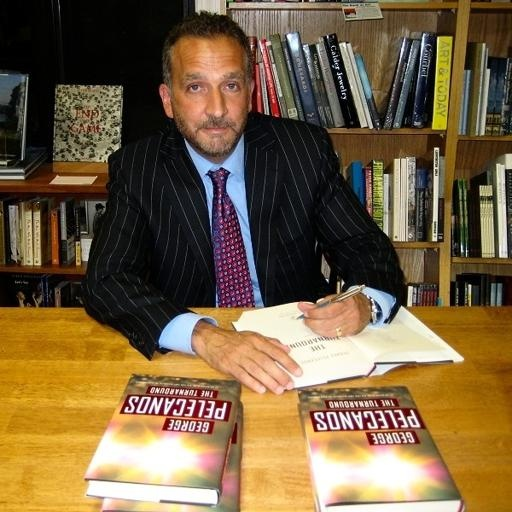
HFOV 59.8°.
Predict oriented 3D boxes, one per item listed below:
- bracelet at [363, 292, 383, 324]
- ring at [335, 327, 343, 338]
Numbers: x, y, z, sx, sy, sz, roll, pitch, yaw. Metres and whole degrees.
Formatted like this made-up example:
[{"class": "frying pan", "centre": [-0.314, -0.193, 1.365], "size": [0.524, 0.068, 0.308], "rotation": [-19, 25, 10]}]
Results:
[{"class": "bracelet", "centre": [0.273, 0.125, 1.039], "size": [0.042, 0.053, 0.019], "rotation": [2, -30, -14]}, {"class": "ring", "centre": [0.177, 0.160, 0.931], "size": [0.014, 0.019, 0.007], "rotation": [3, 9, 3]}]
